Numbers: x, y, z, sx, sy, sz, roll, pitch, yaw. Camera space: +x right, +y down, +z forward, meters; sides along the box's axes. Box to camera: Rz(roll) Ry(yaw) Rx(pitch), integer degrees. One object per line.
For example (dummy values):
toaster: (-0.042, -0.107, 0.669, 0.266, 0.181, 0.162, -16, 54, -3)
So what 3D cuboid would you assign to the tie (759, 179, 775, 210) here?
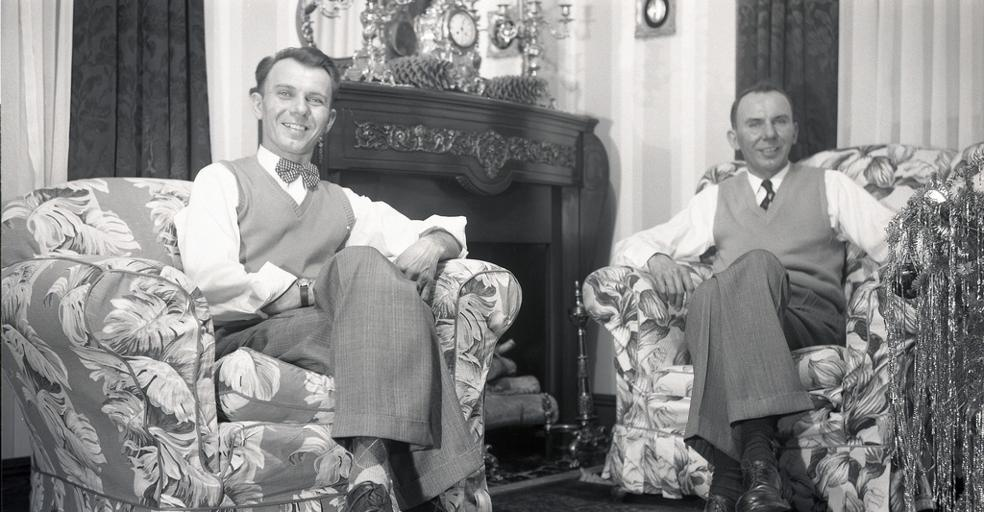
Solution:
tie: (1.241, -0.280, 5.142, 0.074, 0.128, 0.034, 8, -7, 16)

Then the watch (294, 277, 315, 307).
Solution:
watch: (-0.783, 0.147, 4.643, 0.083, 0.111, 0.046, 3, -5, -12)
